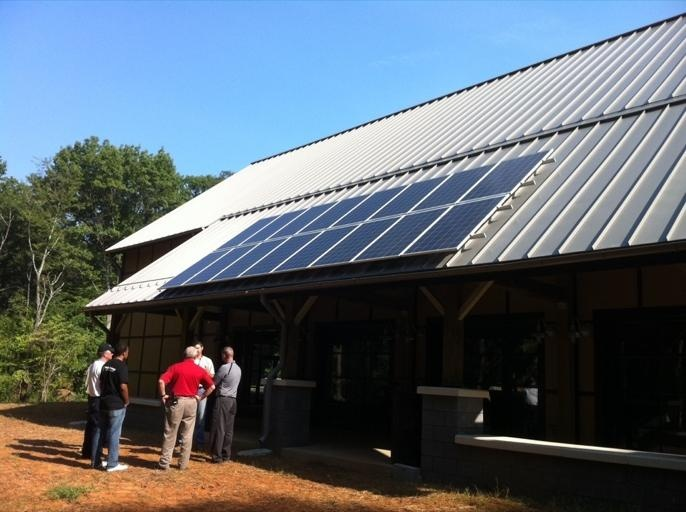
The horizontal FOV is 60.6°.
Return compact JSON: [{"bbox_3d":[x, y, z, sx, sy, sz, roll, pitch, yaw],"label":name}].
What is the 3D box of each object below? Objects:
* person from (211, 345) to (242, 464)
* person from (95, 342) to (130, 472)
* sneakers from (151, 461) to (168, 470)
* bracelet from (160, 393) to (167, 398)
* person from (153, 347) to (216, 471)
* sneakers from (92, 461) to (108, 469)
[{"bbox_3d":[-2.755,3.443,13.687,0.581,2.588,0.623,4,-10,-11],"label":"person"},{"bbox_3d":[-4.870,3.164,12.388,0.710,2.587,0.560,-6,-13,40],"label":"person"},{"bbox_3d":[-3.913,4.513,12.558,0.278,0.101,0.206,-5,-13,28],"label":"sneakers"},{"bbox_3d":[-3.862,3.007,12.637,0.129,0.113,0.464,5,-12,-16],"label":"bracelet"},{"bbox_3d":[-3.496,3.284,12.818,1.092,2.604,0.955,5,-11,-13],"label":"person"},{"bbox_3d":[-5.165,4.419,12.379,0.125,0.161,0.409,15,-30,-24],"label":"sneakers"}]
